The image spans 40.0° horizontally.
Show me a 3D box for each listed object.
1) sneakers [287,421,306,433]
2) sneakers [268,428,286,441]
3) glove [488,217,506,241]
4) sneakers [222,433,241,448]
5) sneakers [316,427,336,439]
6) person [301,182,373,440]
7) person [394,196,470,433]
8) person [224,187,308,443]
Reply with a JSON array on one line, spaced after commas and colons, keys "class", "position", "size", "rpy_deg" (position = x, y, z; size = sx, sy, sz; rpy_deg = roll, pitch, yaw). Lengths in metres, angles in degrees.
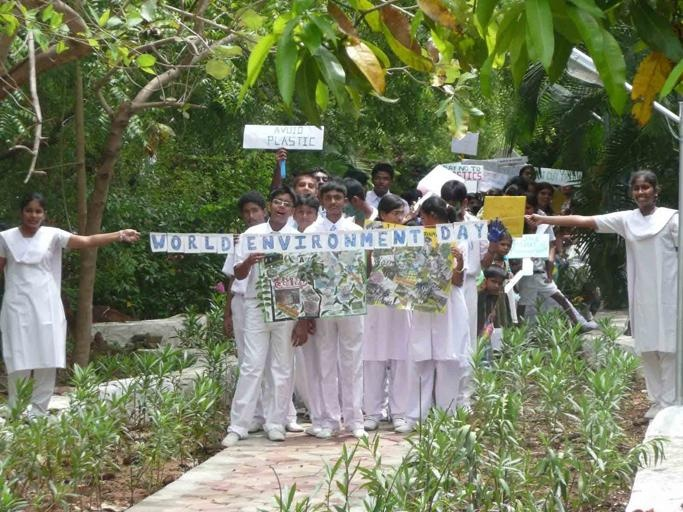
[{"class": "sneakers", "position": [-0.476, 1.735, 9.491], "size": [0.084, 0.065, 0.162], "rpy_deg": [5, -9, -43]}, {"class": "sneakers", "position": [-0.617, 1.706, 8.985], "size": [0.169, 0.124, 0.168], "rpy_deg": [-1, -1, -9]}, {"class": "glove", "position": [1.476, -0.269, 9.027], "size": [0.058, 0.123, 0.187], "rpy_deg": [-30, -20, -35]}, {"class": "sneakers", "position": [-1.041, 1.726, 8.835], "size": [0.130, 0.114, 0.262], "rpy_deg": [-2, -2, 8]}, {"class": "sneakers", "position": [-0.160, 1.713, 9.127], "size": [0.186, 0.091, 0.207], "rpy_deg": [-2, -2, 0]}, {"class": "person", "position": [-0.055, 0.509, 9.189], "size": [0.586, 2.485, 0.984], "rpy_deg": [-1, -1, -9]}, {"class": "person", "position": [0.926, 0.800, 9.338], "size": [0.667, 1.818, 0.543], "rpy_deg": [-2, -1, 8]}, {"class": "person", "position": [-0.779, 0.540, 9.149], "size": [0.719, 2.465, 0.686], "rpy_deg": [-1, -1, -6]}]
